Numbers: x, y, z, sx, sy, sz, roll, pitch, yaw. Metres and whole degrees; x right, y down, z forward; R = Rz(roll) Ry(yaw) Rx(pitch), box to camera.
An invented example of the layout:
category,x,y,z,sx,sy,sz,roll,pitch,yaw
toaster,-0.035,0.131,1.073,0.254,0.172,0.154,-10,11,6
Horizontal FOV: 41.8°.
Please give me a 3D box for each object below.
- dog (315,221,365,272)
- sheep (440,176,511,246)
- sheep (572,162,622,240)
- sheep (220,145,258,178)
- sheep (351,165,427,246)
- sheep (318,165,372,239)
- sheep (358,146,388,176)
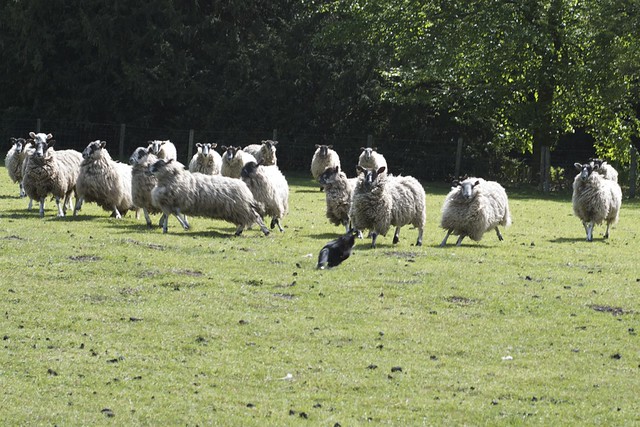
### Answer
category,x,y,z,sx,sy,sz,roll,pitch,yaw
dog,0.550,0.774,19.858,0.447,0.868,1.512,25,34,32
sheep,4.129,-0.070,22.407,2.179,1.785,0.984,-4,10,-40
sheep,8.168,-0.317,24.758,1.030,2.249,2.913,6,0,37
sheep,-2.874,-1.758,27.943,0.859,1.190,1.879,-1,0,6
sheep,1.739,-0.201,22.300,1.465,2.191,2.785,13,9,38
sheep,0.787,-0.246,23.270,0.943,2.034,2.246,-8,-7,39
sheep,1.855,-1.915,32.596,0.690,0.968,1.455,0,-12,0
